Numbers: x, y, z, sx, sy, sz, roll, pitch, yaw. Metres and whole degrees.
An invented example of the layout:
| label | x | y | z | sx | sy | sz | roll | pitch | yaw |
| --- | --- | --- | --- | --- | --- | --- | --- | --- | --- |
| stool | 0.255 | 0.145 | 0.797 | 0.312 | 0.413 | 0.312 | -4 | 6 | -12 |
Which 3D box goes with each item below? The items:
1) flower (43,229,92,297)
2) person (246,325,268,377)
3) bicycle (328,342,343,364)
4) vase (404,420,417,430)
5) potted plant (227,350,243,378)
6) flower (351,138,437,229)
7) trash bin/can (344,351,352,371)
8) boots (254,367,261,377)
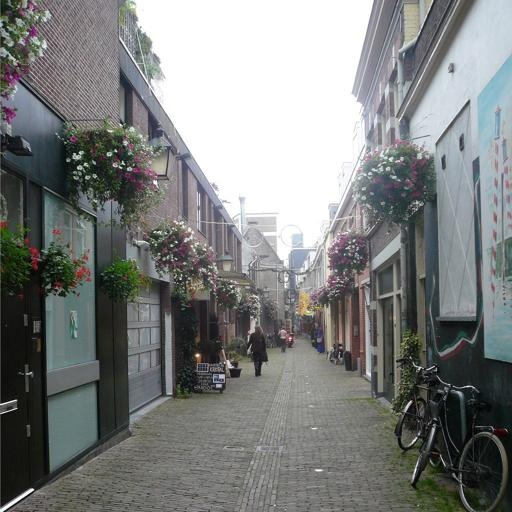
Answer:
| label | x | y | z | sx | sy | sz | roll | pitch | yaw |
| --- | --- | --- | --- | --- | --- | --- | --- | --- | --- |
| flower | -2.160 | 0.064 | 5.951 | 0.503 | 0.829 | 1.371 | 2 | -7 | -21 |
| person | 0.073 | 3.647 | 20.305 | 0.710 | 1.840 | 2.271 | 0 | -6 | -1 |
| bicycle | 3.955 | 4.747 | 25.357 | 0.519 | 0.880 | 1.414 | 0 | -7 | 3 |
| vase | 2.016 | 2.198 | 6.841 | 0.139 | 0.191 | 0.088 | -6 | -4 | 27 |
| potted plant | -0.711 | 4.207 | 20.400 | 0.693 | 1.383 | 0.840 | -1 | -7 | -4 |
| flower | 2.050 | -1.094 | 7.981 | 0.897 | 1.453 | 1.118 | -4 | 2 | -7 |
| trash bin/can | 3.642 | 4.201 | 20.933 | 0.385 | 0.755 | 0.265 | -4 | -6 | 41 |
| boots | 0.073 | 4.288 | 19.328 | 0.175 | 0.305 | 0.318 | 1 | -6 | -12 |
